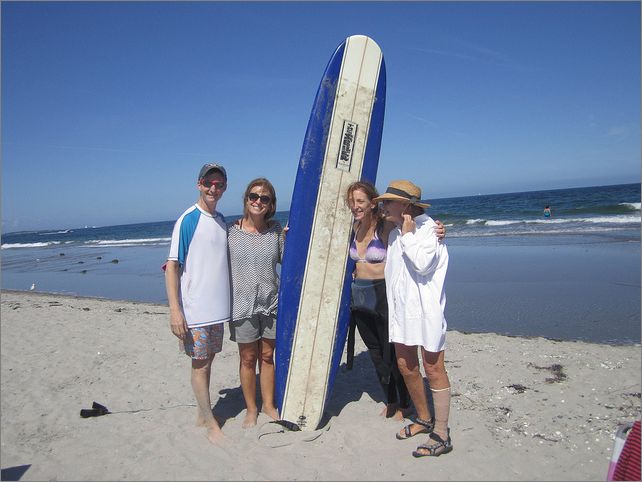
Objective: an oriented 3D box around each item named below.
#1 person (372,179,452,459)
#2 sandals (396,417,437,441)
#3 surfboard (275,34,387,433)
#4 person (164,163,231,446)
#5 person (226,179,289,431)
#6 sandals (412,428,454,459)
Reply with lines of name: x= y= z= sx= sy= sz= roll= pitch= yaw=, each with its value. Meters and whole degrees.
person: x=0.964 y=0.764 z=4.441 sx=0.550 sy=2.724 sz=0.779 roll=-7 pitch=13 yaw=-23
sandals: x=0.954 y=1.969 z=4.715 sx=0.473 sy=0.202 sz=0.184 roll=-17 pitch=29 yaw=19
surfboard: x=0.069 y=-0.464 z=5.508 sx=0.974 sy=5.150 sz=0.536 roll=8 pitch=-1 yaw=2
person: x=-1.208 y=0.678 z=4.588 sx=0.683 sy=2.889 sz=0.465 roll=-7 pitch=13 yaw=-21
person: x=-0.688 y=0.686 z=4.875 sx=0.628 sy=2.670 sz=0.441 roll=-4 pitch=12 yaw=-9
sandals: x=1.122 y=2.018 z=4.523 sx=0.407 sy=0.199 sz=0.196 roll=-5 pitch=4 yaw=-6
